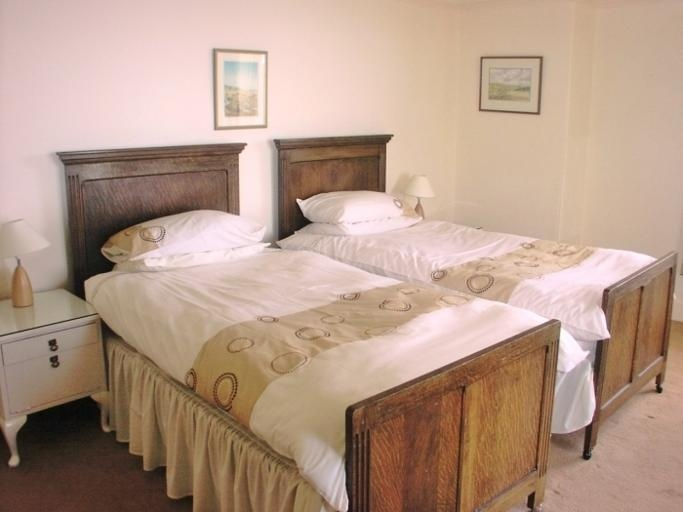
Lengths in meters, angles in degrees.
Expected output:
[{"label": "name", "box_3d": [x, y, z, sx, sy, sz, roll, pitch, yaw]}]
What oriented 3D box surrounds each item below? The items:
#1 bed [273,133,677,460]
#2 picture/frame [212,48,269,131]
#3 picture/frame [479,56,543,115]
[{"label": "bed", "box_3d": [0.812, -0.049, 4.335, 3.298, 2.009, 1.761, 18, 26, 41]}, {"label": "picture/frame", "box_3d": [-0.740, -1.208, 3.774, 0.593, 0.654, 0.046, -10, 17, -40]}, {"label": "picture/frame", "box_3d": [1.551, -1.550, 4.781, 0.576, 0.459, 0.056, 14, 23, 39]}]
